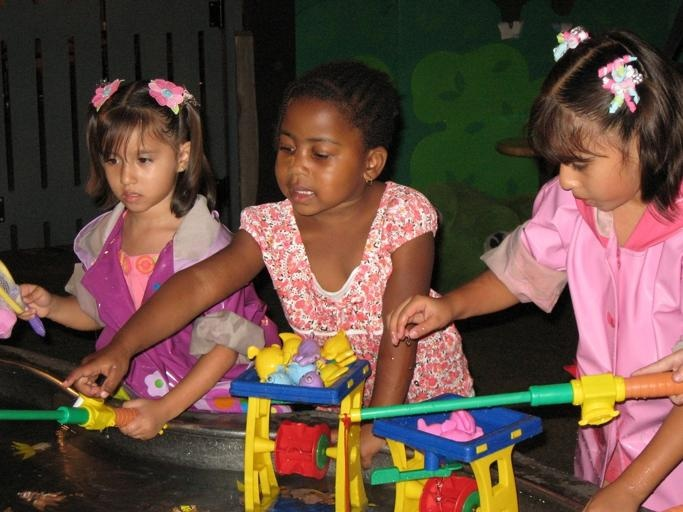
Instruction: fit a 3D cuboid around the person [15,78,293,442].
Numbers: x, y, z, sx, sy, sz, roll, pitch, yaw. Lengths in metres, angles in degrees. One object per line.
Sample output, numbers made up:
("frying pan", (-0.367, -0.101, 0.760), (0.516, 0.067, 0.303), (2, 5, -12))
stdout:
("person", (-0.597, 0.024, 2.232), (0.760, 1.061, 0.739), (5, 16, 27))
